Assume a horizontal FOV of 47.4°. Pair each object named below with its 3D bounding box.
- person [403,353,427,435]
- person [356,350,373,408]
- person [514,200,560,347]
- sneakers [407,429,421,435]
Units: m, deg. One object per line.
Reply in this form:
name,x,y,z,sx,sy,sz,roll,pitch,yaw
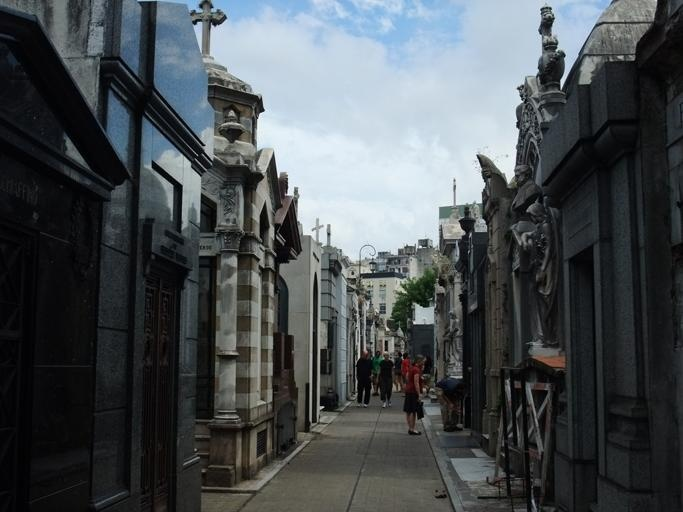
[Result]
person,1.759,3.374,18.835,0.465,1.887,0.863,-1,-4,5
person,0.832,4.259,27.846,0.532,2.025,0.487,4,18,4
person,3.071,0.269,11.976,0.366,2.203,0.817,1,-4,-15
sneakers,1.792,4.309,19.084,0.234,0.116,0.142,-1,-1,-13
